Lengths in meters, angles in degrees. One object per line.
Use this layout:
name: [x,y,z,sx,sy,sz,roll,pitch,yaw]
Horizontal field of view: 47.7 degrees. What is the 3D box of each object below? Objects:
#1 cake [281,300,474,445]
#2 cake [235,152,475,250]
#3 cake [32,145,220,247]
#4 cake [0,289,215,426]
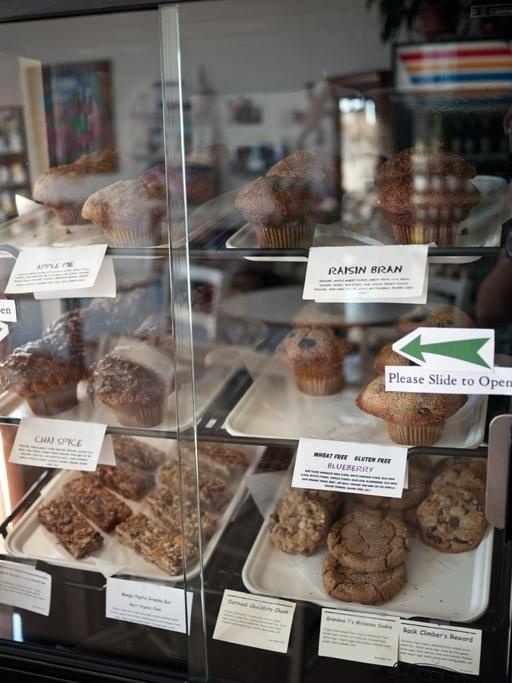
cake: [0.194,0.046,1.009,0.301,0.122,0.199,20,55,36]
cake: [0.171,-0.236,0.972,0.355,0.126,0.151,2,20,15]
cake: [-0.238,-0.256,1.033,0.357,0.169,0.103,8,23,34]
cake: [-0.253,0.021,1.155,0.301,0.114,0.332,4,32,44]
